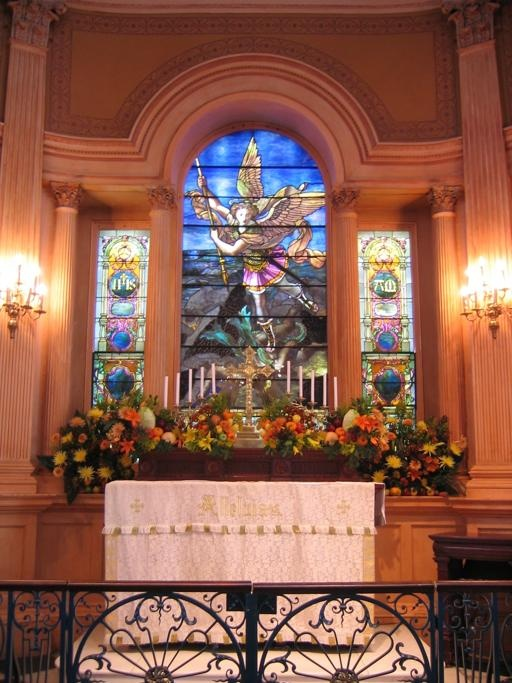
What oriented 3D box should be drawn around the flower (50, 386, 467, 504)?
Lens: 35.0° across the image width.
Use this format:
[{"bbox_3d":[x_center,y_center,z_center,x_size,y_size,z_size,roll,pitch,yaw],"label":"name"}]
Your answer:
[{"bbox_3d":[0.067,0.896,6.892,3.486,0.913,1.361,1,-7,-12],"label":"flower"}]
